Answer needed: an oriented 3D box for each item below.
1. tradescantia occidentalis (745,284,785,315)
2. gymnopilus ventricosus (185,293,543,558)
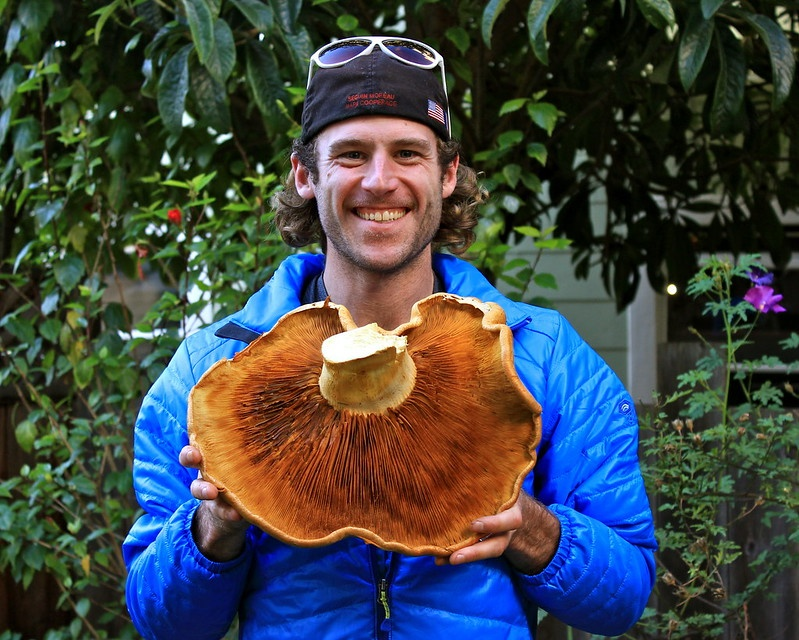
[{"bbox_3d":[1.550,-0.085,4.839,0.211,0.115,0.143,-1,-8,-35],"label":"tradescantia occidentalis"},{"bbox_3d":[-0.110,0.437,3.973,0.904,1.017,0.334,-15,-28,-18],"label":"gymnopilus ventricosus"}]
